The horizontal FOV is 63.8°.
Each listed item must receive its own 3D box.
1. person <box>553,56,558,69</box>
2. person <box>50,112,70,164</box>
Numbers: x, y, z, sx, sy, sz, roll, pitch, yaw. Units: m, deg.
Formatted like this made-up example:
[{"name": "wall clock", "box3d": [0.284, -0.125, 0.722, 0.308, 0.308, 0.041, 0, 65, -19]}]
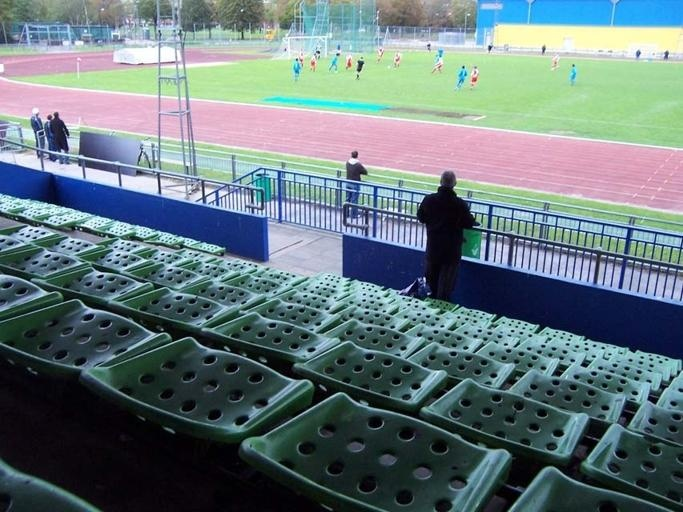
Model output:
[{"name": "person", "box3d": [22.780, -20.946, 58.432, 0.386, 1.538, 4.005, 8, 12, 20]}, {"name": "person", "box3d": [-10.022, -4.230, 19.455, 0.526, 1.738, 1.444, -3, 13, -26]}]
